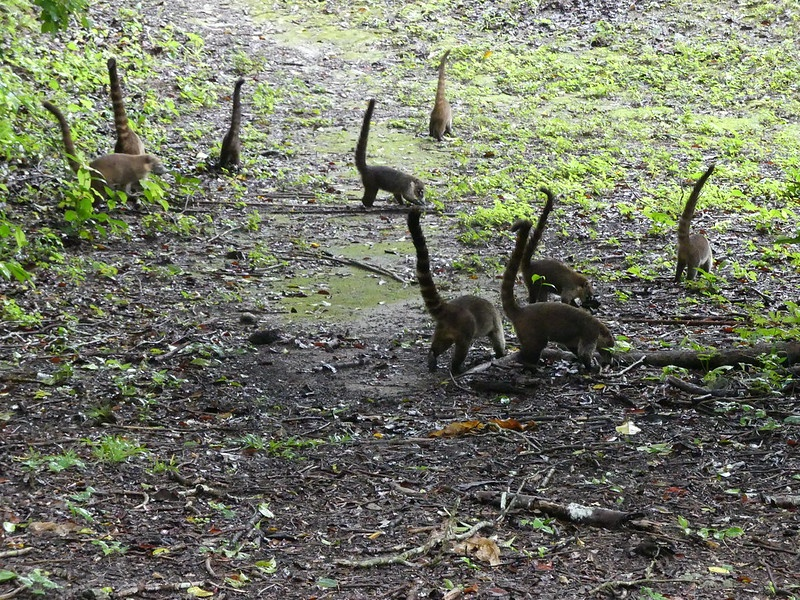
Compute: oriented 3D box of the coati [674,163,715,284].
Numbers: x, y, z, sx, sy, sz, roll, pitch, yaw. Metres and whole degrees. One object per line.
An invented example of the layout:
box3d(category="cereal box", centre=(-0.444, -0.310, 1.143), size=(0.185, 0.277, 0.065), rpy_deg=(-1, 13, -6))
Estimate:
box3d(category="coati", centre=(3.903, -1.013, 14.258), size=(0.427, 1.595, 0.640), rpy_deg=(15, 26, 21))
